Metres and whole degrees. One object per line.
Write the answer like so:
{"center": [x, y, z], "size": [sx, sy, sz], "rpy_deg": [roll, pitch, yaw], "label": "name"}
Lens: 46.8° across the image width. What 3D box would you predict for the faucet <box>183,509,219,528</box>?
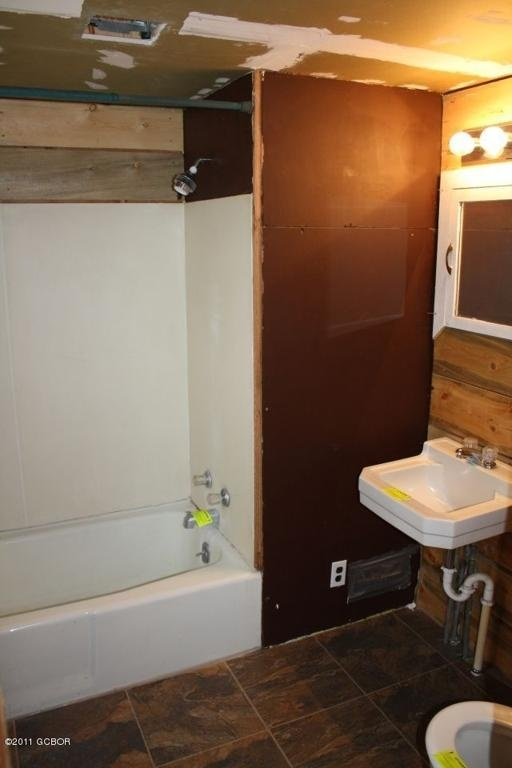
{"center": [-0.246, 0.627, 2.694], "size": [0.128, 0.081, 0.112], "rpy_deg": [-4, 8, -33], "label": "faucet"}
